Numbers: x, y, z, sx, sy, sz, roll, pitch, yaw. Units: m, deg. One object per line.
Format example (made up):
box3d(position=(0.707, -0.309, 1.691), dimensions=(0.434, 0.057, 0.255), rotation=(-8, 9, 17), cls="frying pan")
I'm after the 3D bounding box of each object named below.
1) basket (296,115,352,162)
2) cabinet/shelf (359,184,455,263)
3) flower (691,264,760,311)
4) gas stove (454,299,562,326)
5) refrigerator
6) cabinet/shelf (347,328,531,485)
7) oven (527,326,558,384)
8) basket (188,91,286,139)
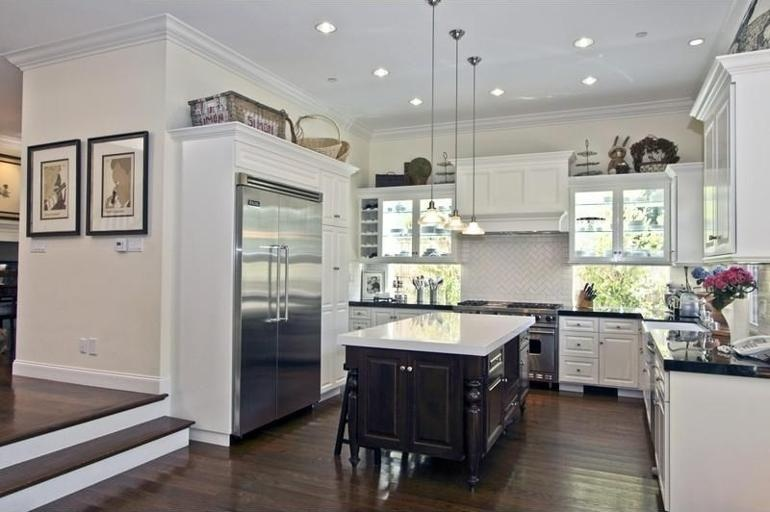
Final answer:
box3d(position=(-0.848, -1.543, 7.130), dimensions=(0.818, 0.667, 0.615), rotation=(8, 10, 1), cls="basket")
box3d(position=(0.374, -0.470, 7.910), dimensions=(1.246, 1.006, 0.317), rotation=(-1, -3, 19), cls="cabinet/shelf")
box3d(position=(3.235, 0.274, 5.097), dimensions=(0.628, 0.423, 0.618), rotation=(-2, -2, -7), cls="flower")
box3d(position=(1.723, 0.759, 7.405), dimensions=(1.384, 0.208, 0.761), rotation=(5, 13, 20), cls="gas stove")
box3d(position=(-1.223, 0.514, 5.888), dimensions=(0.460, 2.815, 1.587), rotation=(7, 14, 28), cls="refrigerator")
box3d(position=(0.485, 1.073, 5.266), dimensions=(1.119, 0.926, 1.934), rotation=(-2, -2, 20), cls="cabinet/shelf")
box3d(position=(2.156, 1.360, 7.364), dimensions=(0.481, 0.758, 0.554), rotation=(-5, -21, 30), cls="oven")
box3d(position=(-1.584, -1.518, 5.777), dimensions=(1.032, 0.458, 0.624), rotation=(-4, 13, -19), cls="basket")
